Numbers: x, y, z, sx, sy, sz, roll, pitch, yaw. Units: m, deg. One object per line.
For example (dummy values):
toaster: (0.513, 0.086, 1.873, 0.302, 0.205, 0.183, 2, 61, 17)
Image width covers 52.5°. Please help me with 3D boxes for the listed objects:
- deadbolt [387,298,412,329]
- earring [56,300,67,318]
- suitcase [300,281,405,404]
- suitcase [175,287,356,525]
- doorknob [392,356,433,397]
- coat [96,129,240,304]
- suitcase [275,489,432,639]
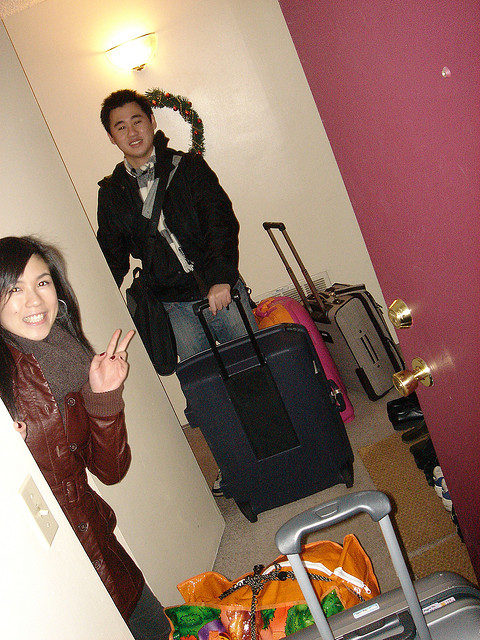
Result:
deadbolt: (0.292, -0.007, 0.890, 0.026, 0.048, 0.076, -28, 7, -6)
earring: (-0.457, -0.031, 1.251, 0.020, 0.049, 0.040, -28, 7, -8)
suitcase: (0.662, 0.111, 2.768, 0.330, 0.626, 0.397, -32, 20, -11)
suitcase: (0.104, 0.298, 2.014, 0.616, 1.060, 0.363, -17, 27, 12)
doorknob: (0.324, 0.111, 0.921, 0.059, 0.064, 0.088, -28, 7, 3)
coat: (-0.325, -0.411, 2.128, 0.563, 0.753, 0.355, -23, 8, 34)
suitcase: (0.148, 0.324, 0.713, 0.149, 0.283, 0.075, -18, 8, 16)
